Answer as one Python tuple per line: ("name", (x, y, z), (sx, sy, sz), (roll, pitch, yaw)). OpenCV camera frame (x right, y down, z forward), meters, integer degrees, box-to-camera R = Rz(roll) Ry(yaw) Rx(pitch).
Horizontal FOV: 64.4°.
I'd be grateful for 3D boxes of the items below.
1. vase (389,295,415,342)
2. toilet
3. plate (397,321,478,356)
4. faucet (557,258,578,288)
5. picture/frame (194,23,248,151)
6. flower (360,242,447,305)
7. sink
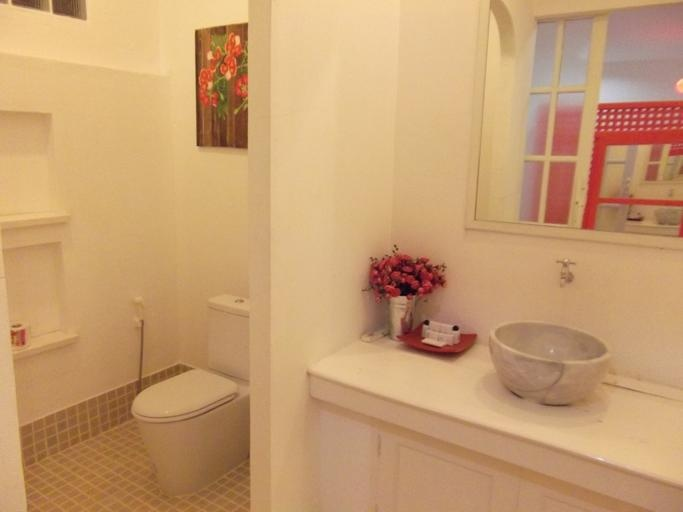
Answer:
("vase", (0.282, 0.277, 2.530), (0.129, 0.187, 0.130), (1, 5, -35))
("toilet", (-0.806, 0.763, 2.997), (0.452, 0.888, 0.774), (10, 14, 36))
("plate", (0.428, 0.380, 2.426), (0.315, 0.065, 0.214), (6, 13, 23))
("faucet", (0.914, 0.071, 2.202), (0.063, 0.112, 0.046), (5, 6, 25))
("picture/frame", (-0.696, -0.972, 3.131), (0.418, 0.683, 0.101), (10, 16, 34))
("flower", (0.295, 0.083, 2.534), (0.254, 0.180, 0.285), (5, 5, 42))
("sink", (0.778, 0.416, 2.052), (0.415, 0.226, 0.354), (8, 14, 26))
